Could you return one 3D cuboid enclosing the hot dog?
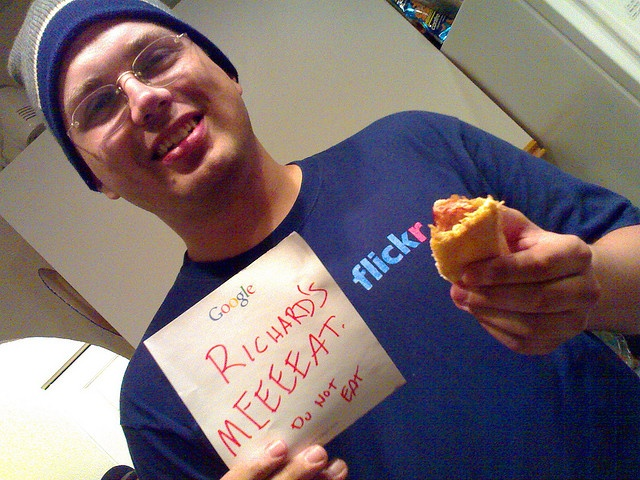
[{"bbox_3d":[0.335,-0.026,1.015,0.220,0.094,0.243,-25,0,19],"label":"hot dog"}]
